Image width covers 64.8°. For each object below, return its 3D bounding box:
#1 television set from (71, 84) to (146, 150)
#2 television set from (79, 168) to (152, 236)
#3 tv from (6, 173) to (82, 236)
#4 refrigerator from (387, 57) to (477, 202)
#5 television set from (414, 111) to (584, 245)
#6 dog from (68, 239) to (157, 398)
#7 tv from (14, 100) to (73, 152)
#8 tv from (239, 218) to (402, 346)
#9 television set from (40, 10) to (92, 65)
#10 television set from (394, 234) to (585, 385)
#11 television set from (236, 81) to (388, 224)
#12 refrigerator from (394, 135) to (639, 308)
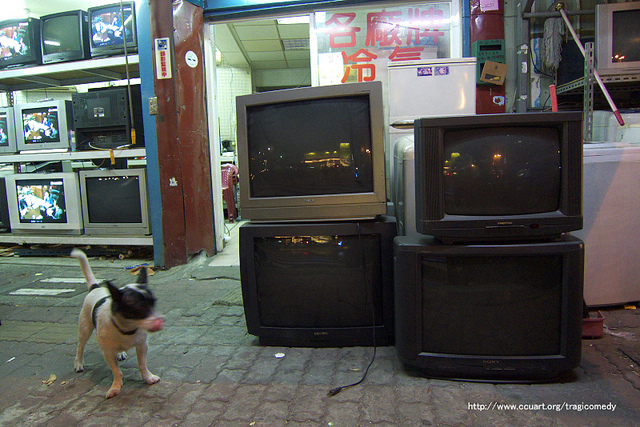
[{"bbox_3d":[-2.681,-1.133,6.387,0.767,0.641,0.597,-3,4,2],"label":"television set"},{"bbox_3d":[-2.445,-0.135,6.344,0.941,0.805,0.494,0,7,12],"label":"television set"},{"bbox_3d":[-3.426,-0.141,6.336,0.820,0.628,0.434,1,4,10],"label":"tv"},{"bbox_3d":[1.198,-0.742,5.148,0.983,1.452,0.965,1,0,32],"label":"refrigerator"},{"bbox_3d":[1.261,-0.246,3.573,1.175,0.923,0.188,-4,11,2],"label":"television set"},{"bbox_3d":[-1.614,0.814,3.926,0.451,0.962,1.443,-8,7,-44],"label":"dog"},{"bbox_3d":[-3.511,-1.100,6.605,0.765,0.585,0.408,-1,5,13],"label":"tv"},{"bbox_3d":[0.150,0.591,4.275,1.443,1.014,0.832,-4,-1,24],"label":"tv"},{"bbox_3d":[-3.150,-2.166,6.371,0.636,0.550,0.342,-1,5,14],"label":"television set"},{"bbox_3d":[1.263,0.711,3.979,1.400,1.077,0.837,0,6,7],"label":"television set"},{"bbox_3d":[0.022,-0.455,4.549,1.560,1.207,0.869,-2,8,7],"label":"television set"},{"bbox_3d":[1.911,0.101,5.016,2.238,1.674,1.469,-2,8,4],"label":"refrigerator"}]
